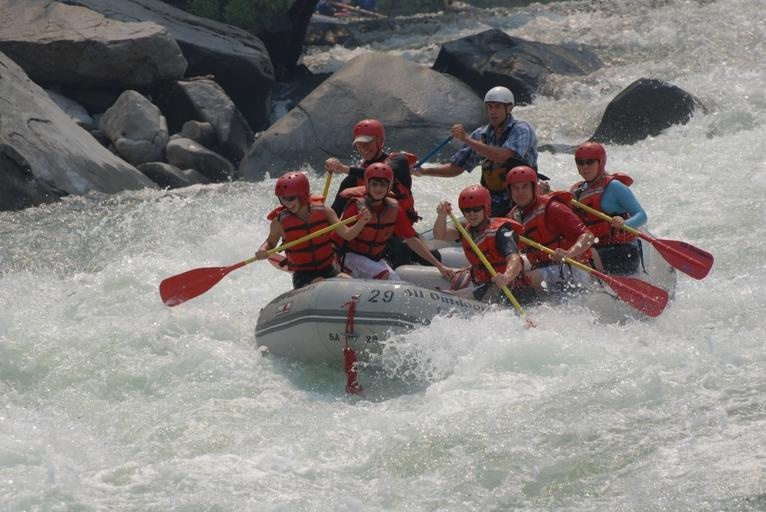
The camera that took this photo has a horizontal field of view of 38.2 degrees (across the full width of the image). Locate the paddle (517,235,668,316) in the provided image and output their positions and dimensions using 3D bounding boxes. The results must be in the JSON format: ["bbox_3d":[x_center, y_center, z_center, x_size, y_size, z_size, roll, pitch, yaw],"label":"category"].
[{"bbox_3d":[2.656,0.273,14.440,2.601,0.398,0.121,22,2,8],"label":"paddle"}]

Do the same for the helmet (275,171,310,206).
[{"bbox_3d":[-1.211,-0.913,14.400,0.354,0.328,0.471,1,6,37],"label":"helmet"}]

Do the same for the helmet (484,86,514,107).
[{"bbox_3d":[1.574,-2.199,15.051,0.371,0.264,0.384,-1,28,3],"label":"helmet"}]

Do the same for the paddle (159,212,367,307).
[{"bbox_3d":[-1.756,0.043,15.714,0.133,0.413,3.671,15,22,30],"label":"paddle"}]

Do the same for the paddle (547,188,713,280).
[{"bbox_3d":[3.348,-0.261,15.093,3.236,0.501,0.126,24,9,8],"label":"paddle"}]

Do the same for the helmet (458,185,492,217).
[{"bbox_3d":[1.192,-0.730,14.198,0.330,0.294,0.398,2,9,20],"label":"helmet"}]
